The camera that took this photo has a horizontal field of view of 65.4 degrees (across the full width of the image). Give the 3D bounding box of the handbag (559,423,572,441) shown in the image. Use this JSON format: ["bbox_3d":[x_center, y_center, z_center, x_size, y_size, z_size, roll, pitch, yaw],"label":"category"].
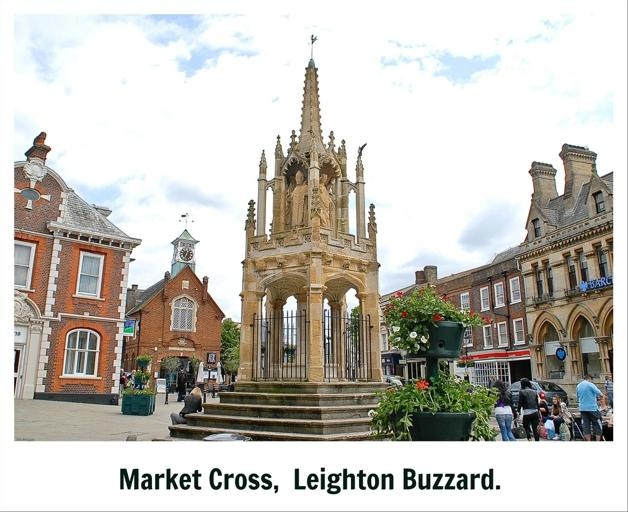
[{"bbox_3d":[6.512,4.543,12.744,0.287,0.416,0.586,-8,-18,25],"label":"handbag"}]

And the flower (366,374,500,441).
[{"bbox_3d":[1.668,2.157,6.900,1.544,0.874,1.458,6,-37,-6],"label":"flower"}]

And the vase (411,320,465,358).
[{"bbox_3d":[1.823,1.198,7.118,0.747,0.494,0.805,3,-7,25],"label":"vase"}]

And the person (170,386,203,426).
[{"bbox_3d":[-3.254,3.814,12.599,0.678,0.922,2.151,4,-17,-14],"label":"person"}]

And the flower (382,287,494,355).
[{"bbox_3d":[1.500,0.919,7.244,1.101,0.742,1.084,2,-19,0],"label":"flower"}]

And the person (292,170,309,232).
[{"bbox_3d":[-0.361,-1.479,12.346,0.306,1.690,0.719,4,-17,-12],"label":"person"}]

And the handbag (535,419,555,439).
[{"bbox_3d":[6.065,4.534,12.797,0.295,0.493,0.930,-12,-20,34],"label":"handbag"}]
